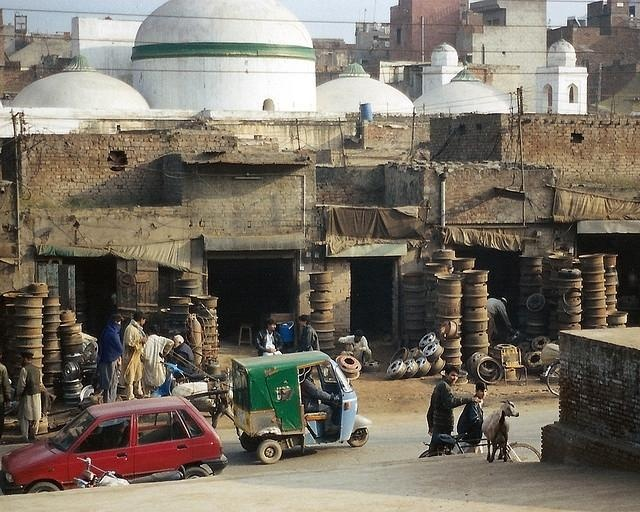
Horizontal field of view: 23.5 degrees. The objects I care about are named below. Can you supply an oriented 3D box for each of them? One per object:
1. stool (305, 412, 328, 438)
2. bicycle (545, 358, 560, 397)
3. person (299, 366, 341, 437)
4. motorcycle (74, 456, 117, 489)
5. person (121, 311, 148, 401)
[{"bbox_3d":[-0.066,3.507,32.513,0.503,0.468,0.446,0,6,-1],"label":"stool"},{"bbox_3d":[5.513,2.874,36.463,0.273,0.844,0.663,-1,-2,14],"label":"bicycle"},{"bbox_3d":[-0.049,3.048,32.650,0.635,1.387,0.739,-6,6,-39],"label":"person"},{"bbox_3d":[-4.494,4.335,30.608,0.563,0.399,0.632,7,8,23],"label":"motorcycle"},{"bbox_3d":[-4.228,2.219,34.517,0.513,1.884,0.414,1,8,38],"label":"person"}]
